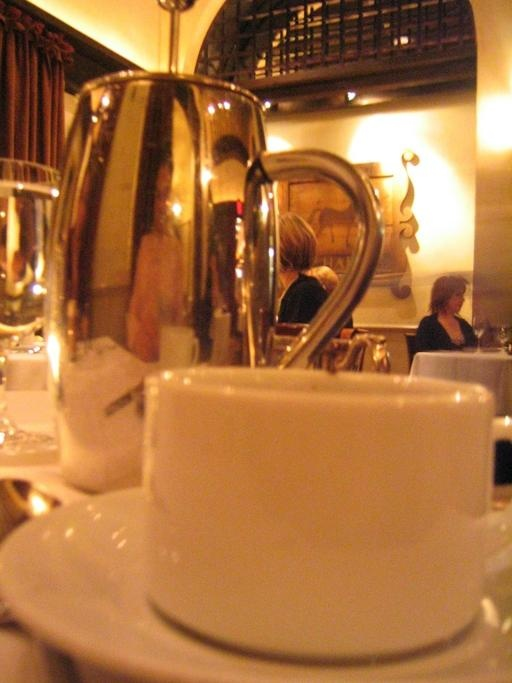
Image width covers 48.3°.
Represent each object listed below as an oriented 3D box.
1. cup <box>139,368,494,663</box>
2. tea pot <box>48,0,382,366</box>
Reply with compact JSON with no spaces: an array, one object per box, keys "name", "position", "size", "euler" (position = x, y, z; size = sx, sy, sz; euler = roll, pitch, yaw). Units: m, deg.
[{"name":"cup","position":[0.009,0.023,0.092],"size":[0.054,0.039,0.033],"euler":[-2,6,19]},{"name":"tea pot","position":[-0.011,-0.041,0.207],"size":[0.126,0.117,0.067],"euler":[0,6,32]}]
